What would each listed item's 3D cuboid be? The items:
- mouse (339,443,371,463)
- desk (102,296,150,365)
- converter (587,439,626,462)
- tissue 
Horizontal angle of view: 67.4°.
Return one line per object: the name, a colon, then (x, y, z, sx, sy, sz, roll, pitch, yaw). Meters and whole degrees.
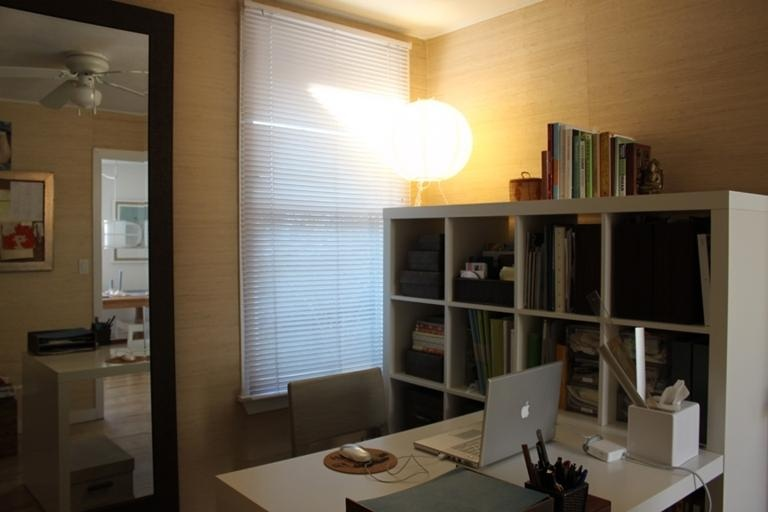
mouse: (-0.127, 0.875, 2.573, 0.064, 0.036, 0.113, 1, -2, -35)
desk: (-1.383, 0.401, 3.204, 0.339, 0.333, 0.319, -1, 1, -33)
converter: (0.989, 0.860, 2.571, 0.093, 0.032, 0.088, -2, 4, -36)
tissue : (1.229, 0.763, 2.616, 0.186, 0.349, 0.307, 11, 6, 41)
